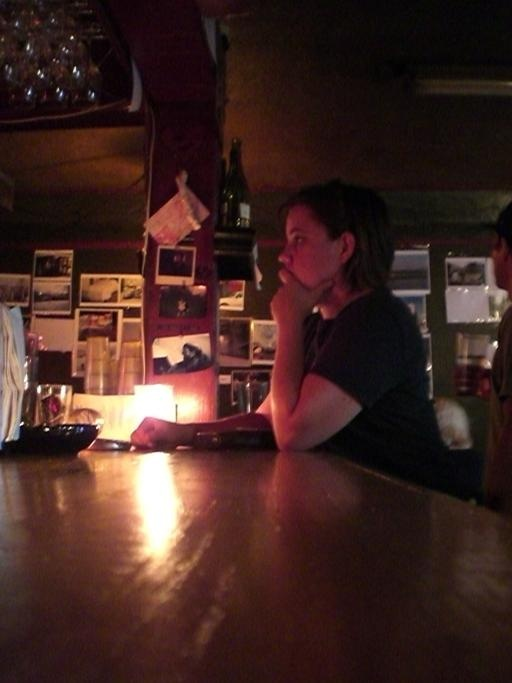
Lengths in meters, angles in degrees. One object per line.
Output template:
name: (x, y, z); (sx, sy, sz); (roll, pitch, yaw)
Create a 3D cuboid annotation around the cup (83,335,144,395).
cup: (-0.440, 0.085, 1.675); (0.142, 0.197, 0.165); (2, -1, -17)

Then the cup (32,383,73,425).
cup: (-0.430, 0.133, 1.152); (0.066, 0.099, 0.074); (14, -27, -28)

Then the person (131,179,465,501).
person: (0.142, -0.019, 1.556); (0.876, 0.967, 0.648); (12, -18, -24)
